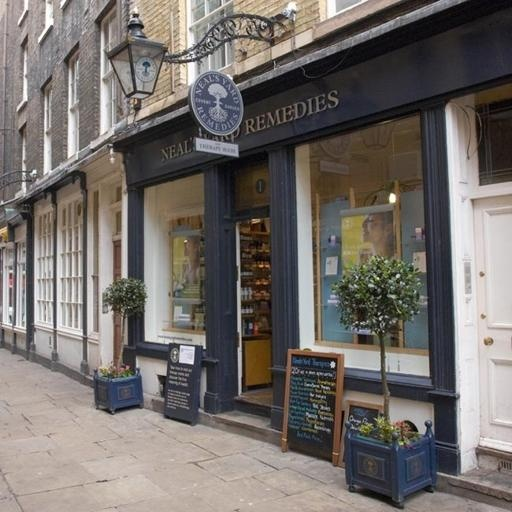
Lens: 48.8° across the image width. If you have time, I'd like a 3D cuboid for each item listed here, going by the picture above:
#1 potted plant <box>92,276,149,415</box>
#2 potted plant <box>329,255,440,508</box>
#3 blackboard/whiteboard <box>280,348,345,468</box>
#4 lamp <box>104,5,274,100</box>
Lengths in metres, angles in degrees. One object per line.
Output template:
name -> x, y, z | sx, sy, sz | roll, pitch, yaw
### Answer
potted plant -> -2.133, 1.356, 8.850 | 0.751, 2.113, 0.657 | -7, -11, 32
potted plant -> 1.111, 1.042, 4.928 | 0.826, 2.181, 0.544 | -3, 0, 21
blackboard/whiteboard -> 0.609, 1.602, 5.874 | 0.072, 1.383, 0.840 | 12, -14, -35
lamp -> -0.931, -2.567, 7.519 | 1.977, 1.066, 2.479 | -3, -1, -15
